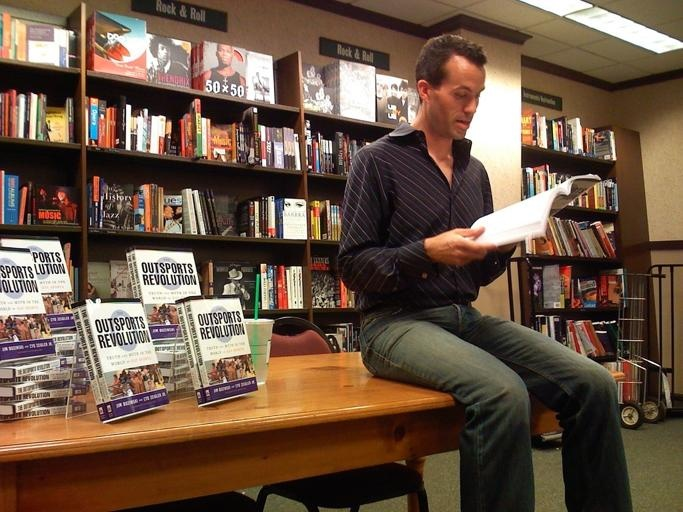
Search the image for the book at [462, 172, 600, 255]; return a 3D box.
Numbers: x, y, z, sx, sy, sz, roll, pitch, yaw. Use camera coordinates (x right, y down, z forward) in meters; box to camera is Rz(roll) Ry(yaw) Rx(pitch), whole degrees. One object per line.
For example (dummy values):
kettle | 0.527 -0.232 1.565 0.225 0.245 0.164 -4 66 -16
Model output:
book | 0.464 -0.097 1.358 0.257 0.059 0.264 -26 0 42
